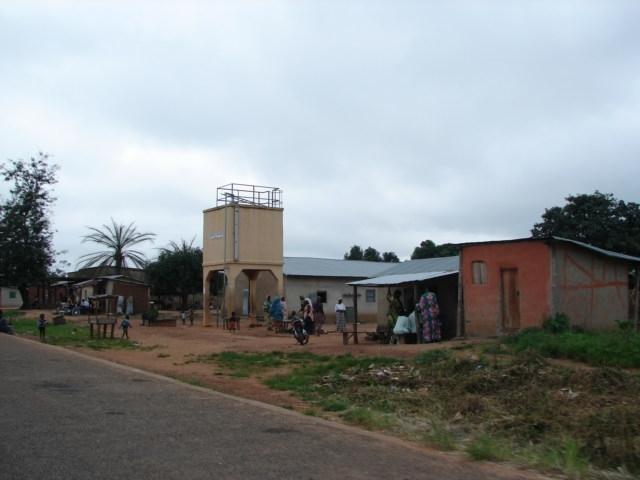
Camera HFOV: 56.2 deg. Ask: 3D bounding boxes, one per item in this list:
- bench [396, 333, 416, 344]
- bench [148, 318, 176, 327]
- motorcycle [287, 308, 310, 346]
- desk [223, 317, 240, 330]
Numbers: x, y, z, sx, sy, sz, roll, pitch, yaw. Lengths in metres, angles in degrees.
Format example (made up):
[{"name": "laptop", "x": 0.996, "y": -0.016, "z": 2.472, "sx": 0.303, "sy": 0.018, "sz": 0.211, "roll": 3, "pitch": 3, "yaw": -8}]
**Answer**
[{"name": "bench", "x": 3.614, "y": 4.079, "z": 24.906, "sx": 0.826, "sy": 0.382, "sz": 0.775, "roll": 1, "pitch": -8, "yaw": 1}, {"name": "bench", "x": -11.433, "y": 5.927, "z": 43.743, "sx": 1.968, "sy": 0.675, "sz": 10.410, "roll": 3, "pitch": -8, "yaw": -14}, {"name": "motorcycle", "x": -1.047, "y": 4.139, "z": 26.619, "sx": 0.755, "sy": 1.060, "sz": 1.792, "roll": -16, "pitch": -16, "yaw": 1}, {"name": "desk", "x": -5.129, "y": 4.897, "z": 34.994, "sx": 0.797, "sy": 0.875, "sz": 1.791, "roll": 0, "pitch": 6, "yaw": -6}]
